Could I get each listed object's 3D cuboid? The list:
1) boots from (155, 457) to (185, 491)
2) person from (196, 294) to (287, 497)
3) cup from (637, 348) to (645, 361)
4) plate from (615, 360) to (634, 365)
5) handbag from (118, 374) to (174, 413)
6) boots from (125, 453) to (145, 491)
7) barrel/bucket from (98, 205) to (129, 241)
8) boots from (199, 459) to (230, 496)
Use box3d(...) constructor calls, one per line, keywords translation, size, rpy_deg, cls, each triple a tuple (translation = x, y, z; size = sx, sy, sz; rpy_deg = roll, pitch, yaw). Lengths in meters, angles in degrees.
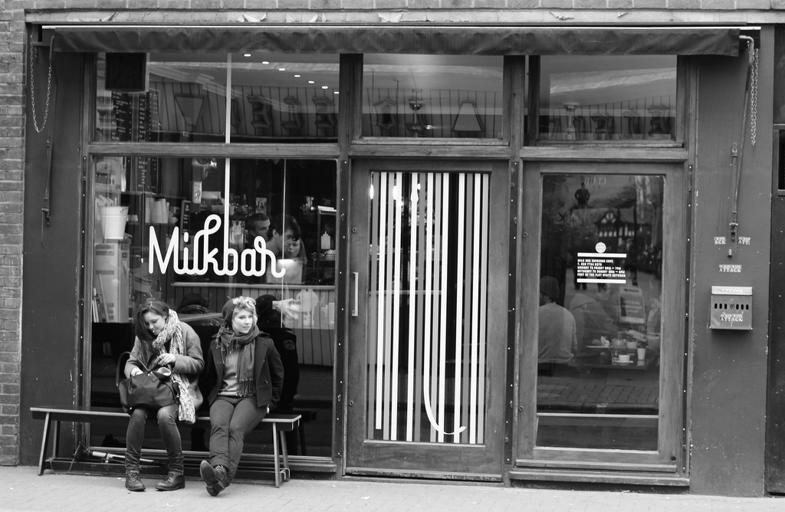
box3d(translation=(-2.507, 2.445, 13.775), size=(0.180, 0.378, 0.456), rpy_deg=(-1, -4, 24), cls="boots")
box3d(translation=(-1.856, 1.552, 13.857), size=(0.664, 2.046, 1.093), rpy_deg=(0, 0, 44), cls="person")
box3d(translation=(2.866, 1.126, 14.065), size=(0.120, 0.126, 0.076), rpy_deg=(1, -9, 2), cls="cup")
box3d(translation=(2.682, 1.215, 14.097), size=(0.218, 0.049, 0.013), rpy_deg=(0, 0, 10), cls="plate")
box3d(translation=(-2.763, 1.493, 13.845), size=(0.576, 0.429, 0.306), rpy_deg=(-4, 7, 11), cls="handbag")
box3d(translation=(-2.911, 2.457, 13.745), size=(0.166, 0.306, 0.491), rpy_deg=(-3, 10, -26), cls="boots")
box3d(translation=(-3.317, -0.402, 14.592), size=(0.374, 0.380, 0.361), rpy_deg=(2, -6, 0), cls="barrel/bucket")
box3d(translation=(-1.971, 2.431, 13.452), size=(0.230, 0.377, 0.437), rpy_deg=(0, 0, 30), cls="boots")
